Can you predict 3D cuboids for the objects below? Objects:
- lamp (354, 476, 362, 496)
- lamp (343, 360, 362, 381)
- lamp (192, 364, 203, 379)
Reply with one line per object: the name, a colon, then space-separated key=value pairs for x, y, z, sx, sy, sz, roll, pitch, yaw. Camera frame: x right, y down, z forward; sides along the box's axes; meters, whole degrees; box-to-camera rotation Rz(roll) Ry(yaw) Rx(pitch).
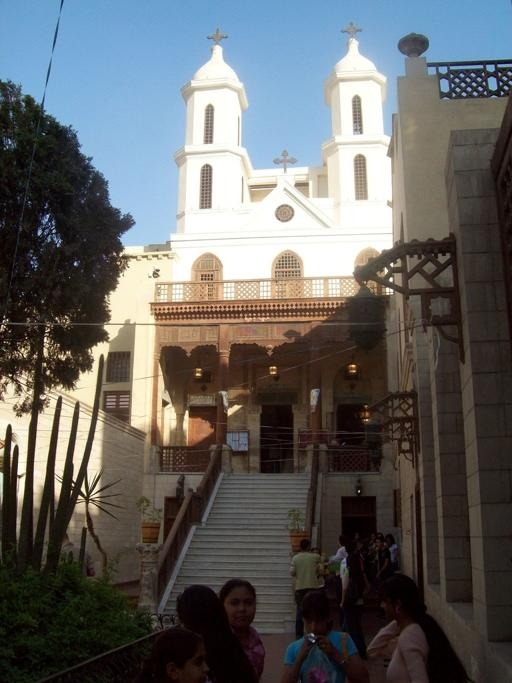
lamp: x=3.190 y=4.507 z=19.685 sx=0.243 sy=0.544 sz=0.236 roll=4 pitch=6 yaw=5
lamp: x=3.544 y=1.111 z=23.256 sx=0.689 sy=1.201 sz=0.691 roll=-1 pitch=5 yaw=5
lamp: x=-2.053 y=1.039 z=22.930 sx=0.425 sy=0.588 sz=0.423 roll=0 pitch=-10 yaw=-2
